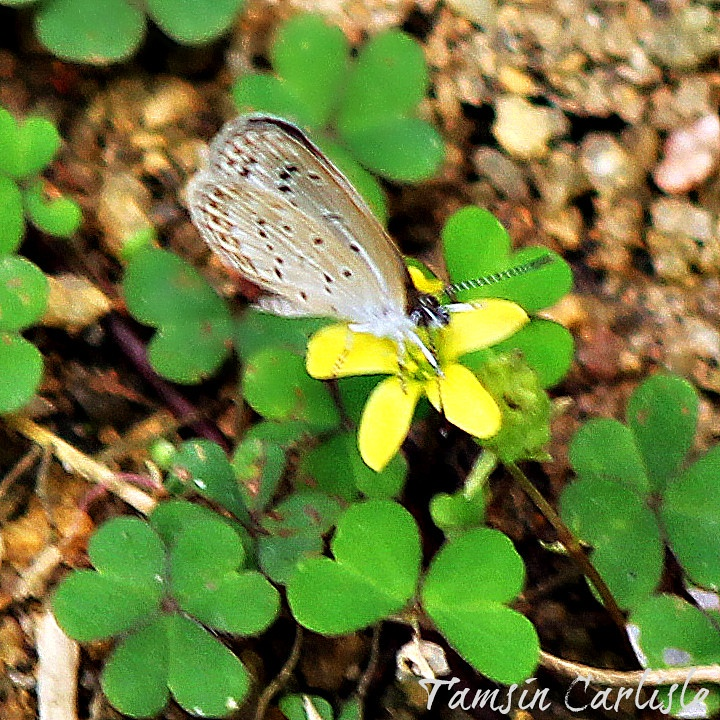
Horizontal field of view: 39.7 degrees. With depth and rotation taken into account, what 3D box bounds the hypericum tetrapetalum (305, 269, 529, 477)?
[{"bbox_3d":[0.143,-0.032,2.361,0.518,0.175,0.528,-3,76,-33],"label":"hypericum tetrapetalum"}]
